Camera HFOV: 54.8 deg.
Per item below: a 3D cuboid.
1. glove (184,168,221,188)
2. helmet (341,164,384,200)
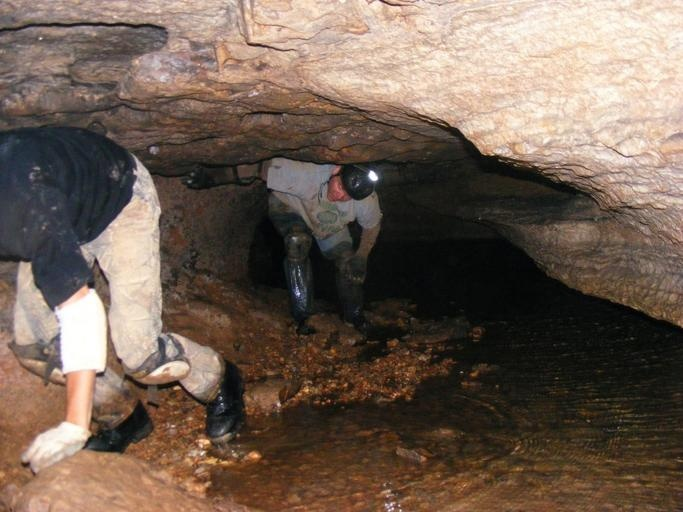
[{"bbox_3d":[-1.120,-0.611,5.228,0.253,0.059,0.198,-9,-1,-12],"label":"glove"},{"bbox_3d":[0.144,-0.611,5.393,0.303,0.307,0.187,-4,24,0],"label":"helmet"}]
